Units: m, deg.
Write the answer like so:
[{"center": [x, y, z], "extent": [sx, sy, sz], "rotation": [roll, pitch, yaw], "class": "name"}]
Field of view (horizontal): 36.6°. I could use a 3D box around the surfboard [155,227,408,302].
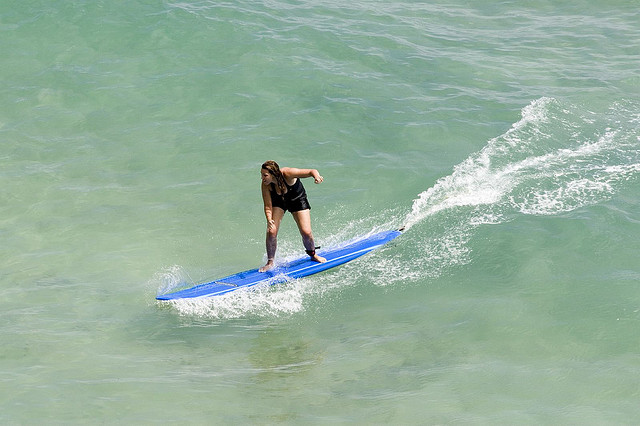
[{"center": [-0.801, 1.167, 20.782], "extent": [6.298, 0.278, 0.715], "rotation": [-9, 16, -10], "class": "surfboard"}]
